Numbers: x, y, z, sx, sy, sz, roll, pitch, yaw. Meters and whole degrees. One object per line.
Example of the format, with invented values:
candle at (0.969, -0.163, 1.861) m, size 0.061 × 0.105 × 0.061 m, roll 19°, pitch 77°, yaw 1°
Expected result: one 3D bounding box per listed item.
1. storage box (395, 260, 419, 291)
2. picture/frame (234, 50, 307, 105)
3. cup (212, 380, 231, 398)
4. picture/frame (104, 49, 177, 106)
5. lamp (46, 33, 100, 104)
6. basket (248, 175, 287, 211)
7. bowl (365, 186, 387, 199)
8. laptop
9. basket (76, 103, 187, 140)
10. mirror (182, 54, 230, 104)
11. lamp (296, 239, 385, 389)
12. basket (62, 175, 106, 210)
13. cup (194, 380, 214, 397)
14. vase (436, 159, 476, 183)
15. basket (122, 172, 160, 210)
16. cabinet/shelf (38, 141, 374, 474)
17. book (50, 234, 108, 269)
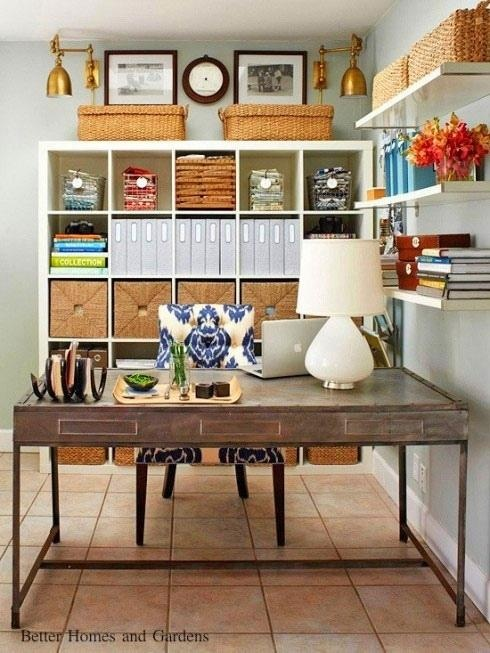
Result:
storage box at (0.603, -0.182, 2.293) m, size 0.098 × 0.107 × 0.158 m, roll 0°, pitch 3°, yaw 4°
picture/frame at (0.135, -1.556, 3.728) m, size 0.467 × 0.335 × 0.019 m, roll 0°, pitch 0°, yaw -4°
cup at (-0.082, 0.217, 2.015) m, size 0.050 × 0.045 × 0.048 m, roll 0°, pitch -6°, yaw 0°
picture/frame at (-0.663, -1.546, 3.708) m, size 0.471 × 0.328 × 0.018 m, roll 1°, pitch 5°, yaw -4°
lamp at (-0.997, -1.510, 3.523) m, size 0.283 × 0.469 × 0.502 m, roll 0°, pitch 3°, yaw -15°
basket at (0.128, -0.789, 3.604) m, size 0.199 × 0.250 × 0.199 m, roll 0°, pitch 1°, yaw 1°
bowl at (0.628, -0.634, 2.902) m, size 0.091 × 0.066 × 0.093 m, roll -3°, pitch 3°, yaw 0°
laptop at (0.120, 0.081, 2.381) m, size 0.312 × 0.211 × 0.223 m, roll -3°, pitch 5°, yaw -40°
basket at (-0.645, -1.123, 3.472) m, size 0.449 × 0.167 × 0.264 m, roll 1°, pitch 5°, yaw -2°
mirror at (-0.250, -1.554, 3.740) m, size 0.317 × 0.331 × 0.038 m, roll 0°, pitch 8°, yaw -1°
lamp at (0.338, -0.039, 2.150) m, size 0.325 × 0.504 × 0.333 m, roll 5°, pitch 7°, yaw 41°
basket at (-0.948, -0.781, 3.518) m, size 0.238 × 0.282 × 0.167 m, roll 1°, pitch -6°, yaw -5°
cup at (-0.137, 0.216, 2.017) m, size 0.050 × 0.046 × 0.048 m, roll 1°, pitch -2°, yaw 0°
vase at (0.641, -0.470, 1.844) m, size 0.115 × 0.083 × 0.116 m, roll 6°, pitch 15°, yaw 23°
basket at (-0.622, -0.802, 3.568) m, size 0.207 × 0.240 × 0.166 m, roll 1°, pitch 6°, yaw 0°
cabinet/shelf at (-0.208, -0.102, 2.866) m, size 2.108 × 1.848 × 0.549 m, roll 0°, pitch -1°, yaw -4°
book at (-0.961, -0.421, 3.408) m, size 0.245 × 0.143 × 0.239 m, roll 1°, pitch 6°, yaw -2°
